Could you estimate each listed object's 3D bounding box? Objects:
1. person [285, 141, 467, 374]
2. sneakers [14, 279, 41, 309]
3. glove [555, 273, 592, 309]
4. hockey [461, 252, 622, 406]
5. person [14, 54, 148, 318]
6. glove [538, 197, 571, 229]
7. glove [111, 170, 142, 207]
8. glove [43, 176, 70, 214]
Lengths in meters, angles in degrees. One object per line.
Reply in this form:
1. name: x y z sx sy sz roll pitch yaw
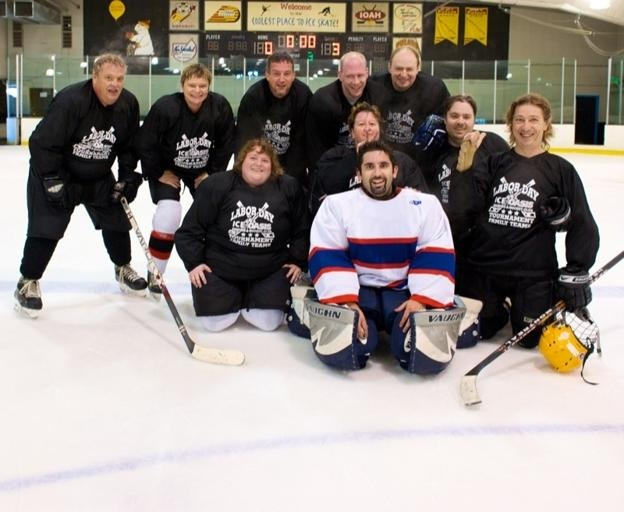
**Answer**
1. person: 0.310 0.012 2.646 0.730 0.995 0.593 0 14 -2
2. sneakers: -1.523 0.226 3.173 0.121 0.182 0.211 -7 17 -28
3. glove: 1.179 0.157 2.654 0.134 0.244 0.180 2 6 39
4. hockey: 0.962 0.306 2.553 0.428 0.443 0.985 10 18 34
5. person: -1.316 -0.423 3.324 0.730 1.356 0.596 -5 15 -21
6. glove: 1.135 -0.206 2.800 0.115 0.155 0.146 15 -7 34
7. glove: -1.077 -0.402 3.509 0.129 0.192 0.069 14 -24 49
8. glove: -1.355 -0.329 3.153 0.115 0.157 0.061 -12 28 -32
